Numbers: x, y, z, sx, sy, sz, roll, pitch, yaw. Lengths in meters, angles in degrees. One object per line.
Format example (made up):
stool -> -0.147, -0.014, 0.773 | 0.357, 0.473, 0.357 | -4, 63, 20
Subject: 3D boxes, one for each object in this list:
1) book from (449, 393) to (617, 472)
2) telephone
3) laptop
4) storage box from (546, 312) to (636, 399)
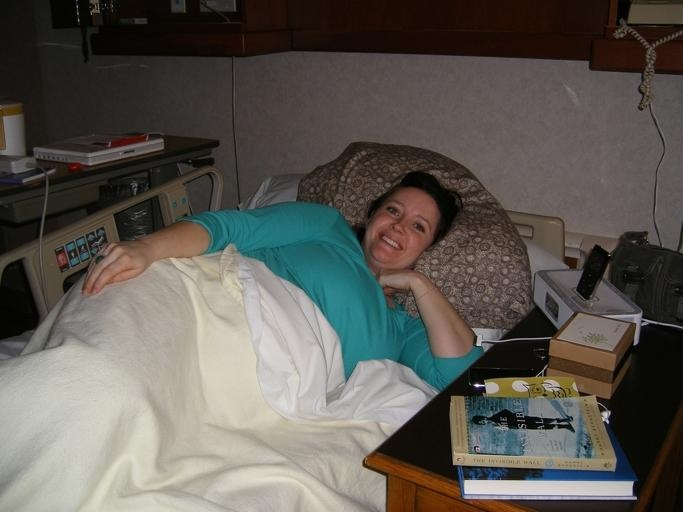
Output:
book -> 0.355, 0.330, 0.975 | 0.186, 0.029, 0.148 | 2, 33, 3
telephone -> 0.664, 0.115, 1.414 | 0.146, 0.092, 0.293 | -2, 25, -1
laptop -> -0.954, -0.434, 2.091 | 0.322, 0.147, 0.381 | 14, 14, 22
storage box -> 0.579, 0.281, 1.222 | 0.140, 0.118, 0.214 | 16, 33, 28
